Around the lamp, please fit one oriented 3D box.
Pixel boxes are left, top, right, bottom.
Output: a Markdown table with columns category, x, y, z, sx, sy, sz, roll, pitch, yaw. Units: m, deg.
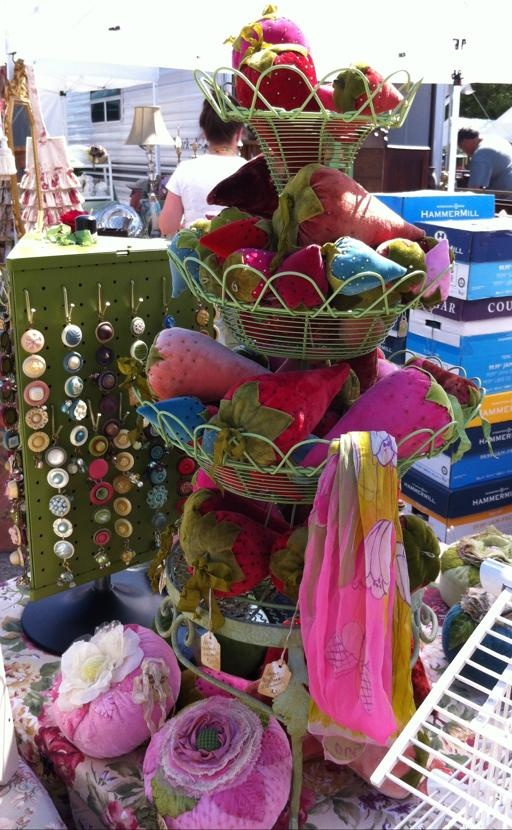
| category | x | y | z | sx | sy | sz | roll | pitch | yaw |
| --- | --- | --- | --- | --- | --- | --- | --- | --- | --- |
| lamp | -0.767 | -1.905 | 4.179 | 0.315 | 0.549 | 0.321 | 17 | 34 | 21 |

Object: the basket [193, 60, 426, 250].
| category | x | y | z | sx | sy | sz | roll | pitch | yaw |
| --- | --- | --- | --- | --- | --- | --- | --- | --- | --- |
| basket | 0.065 | -0.326 | 0.697 | 0.249 | 0.170 | 0.245 | -10 | 35 | -24 |

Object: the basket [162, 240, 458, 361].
| category | x | y | z | sx | sy | sz | roll | pitch | yaw |
| --- | --- | --- | --- | --- | --- | --- | --- | --- | --- |
| basket | 0.046 | -0.123 | 0.673 | 0.322 | 0.120 | 0.310 | 1 | 8 | 5 |
